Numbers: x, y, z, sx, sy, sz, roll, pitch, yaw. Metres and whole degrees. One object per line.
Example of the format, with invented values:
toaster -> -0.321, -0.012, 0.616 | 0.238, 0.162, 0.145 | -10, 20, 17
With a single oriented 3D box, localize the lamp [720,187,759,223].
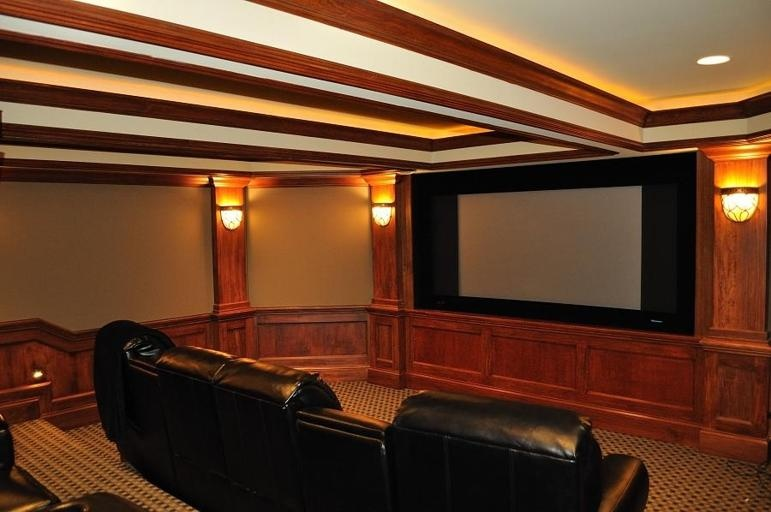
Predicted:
lamp -> 3.607, -0.511, 5.396 | 0.373, 0.356, 0.339 | 3, -2, -27

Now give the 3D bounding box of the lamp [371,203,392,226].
lamp -> -0.039, -0.588, 7.506 | 0.341, 0.338, 0.085 | 2, 6, 32

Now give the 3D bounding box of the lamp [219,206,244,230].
lamp -> -2.227, -0.550, 7.431 | 0.085, 0.325, 0.376 | 3, 5, 44
